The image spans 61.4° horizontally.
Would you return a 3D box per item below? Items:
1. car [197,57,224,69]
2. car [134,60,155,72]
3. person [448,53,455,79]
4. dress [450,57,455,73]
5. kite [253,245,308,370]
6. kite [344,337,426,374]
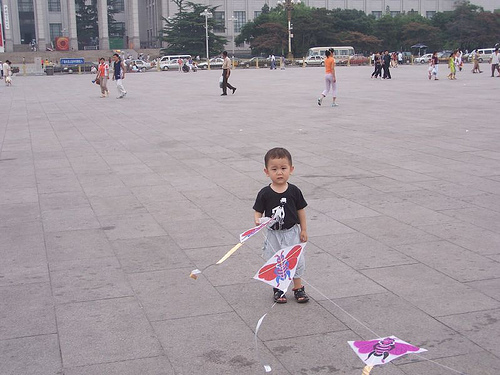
[{"bbox_3d":[-6.443,-20.200,68.633,3.854,1.757,3.823,-3,15,-7],"label":"car"},{"bbox_3d":[-16.324,-18.437,63.959,1.685,1.597,3.534,2,15,9],"label":"car"},{"bbox_3d":[14.649,-8.804,30.599,0.421,1.776,1.370,6,17,23],"label":"person"},{"bbox_3d":[14.484,-8.820,30.231,0.302,1.025,0.599,7,17,24],"label":"dress"},{"bbox_3d":[0.205,0.816,3.308,0.306,0.750,0.089,14,-24,27],"label":"kite"},{"bbox_3d":[0.780,0.978,2.473,0.305,0.203,0.292,-4,16,-11],"label":"kite"}]
